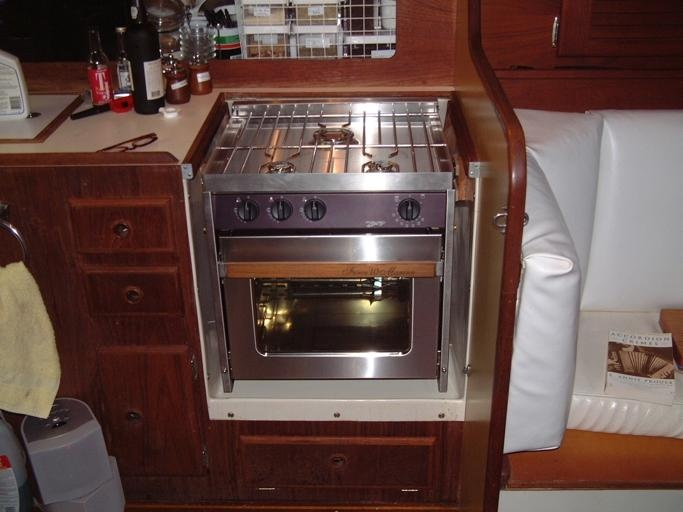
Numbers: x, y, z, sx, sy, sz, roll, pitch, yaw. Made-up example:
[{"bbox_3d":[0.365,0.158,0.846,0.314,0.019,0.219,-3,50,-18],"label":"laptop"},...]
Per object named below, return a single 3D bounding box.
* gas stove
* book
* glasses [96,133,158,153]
[{"bbox_3d":[-0.022,-0.310,1.739,0.744,0.241,0.564,-4,39,-2],"label":"gas stove"},{"bbox_3d":[0.939,0.343,1.731,0.207,0.167,0.196,3,18,16],"label":"book"},{"bbox_3d":[-0.615,-0.330,1.613,0.058,0.028,0.203,9,27,35],"label":"glasses"}]
